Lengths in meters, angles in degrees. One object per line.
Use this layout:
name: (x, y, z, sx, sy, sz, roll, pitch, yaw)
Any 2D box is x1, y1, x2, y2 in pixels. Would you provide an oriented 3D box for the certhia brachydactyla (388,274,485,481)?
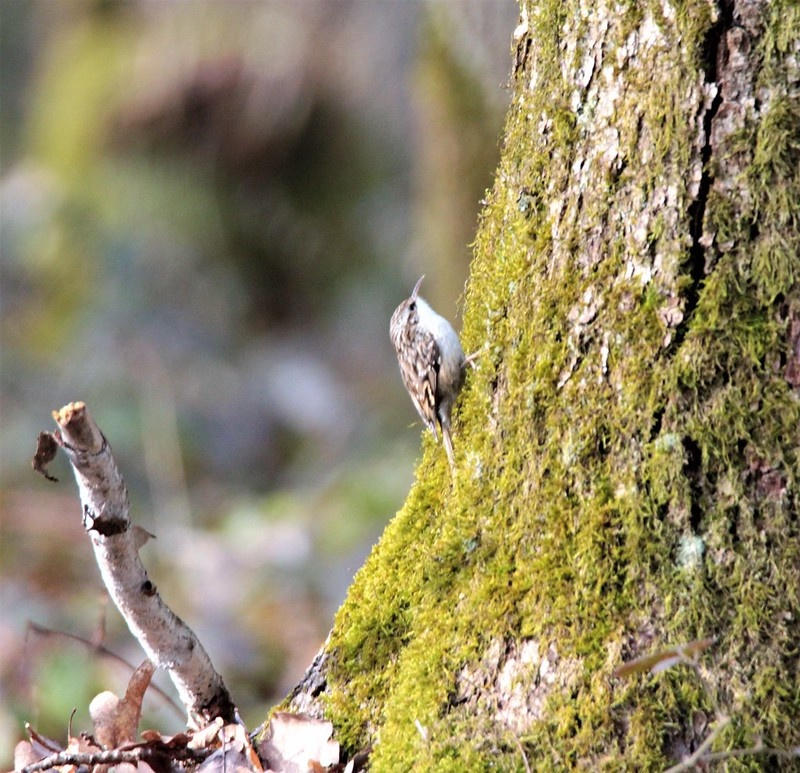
certhia brachydactyla: (0.107, -0.058, 4.443, 0.413, 0.192, 0.454, 36, -68, -9)
